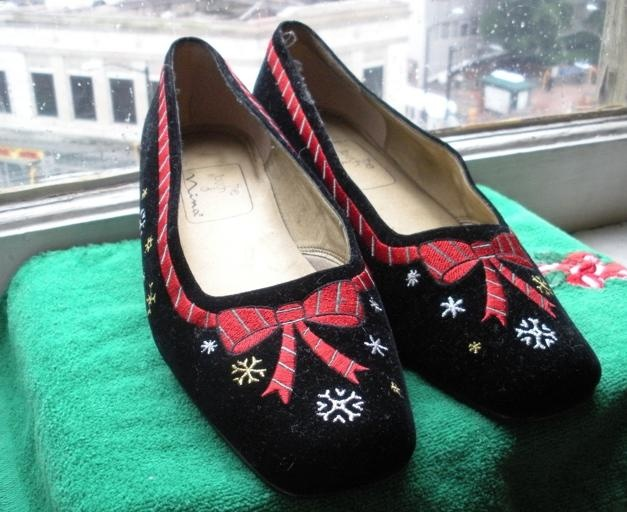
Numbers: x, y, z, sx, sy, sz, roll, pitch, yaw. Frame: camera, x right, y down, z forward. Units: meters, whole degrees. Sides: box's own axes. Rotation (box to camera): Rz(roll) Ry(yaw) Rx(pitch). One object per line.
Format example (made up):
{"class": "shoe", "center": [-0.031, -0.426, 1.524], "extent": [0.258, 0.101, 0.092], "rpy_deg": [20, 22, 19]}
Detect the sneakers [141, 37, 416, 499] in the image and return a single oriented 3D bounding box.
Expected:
{"class": "sneakers", "center": [-0.094, 0.021, 0.735], "extent": [0.255, 0.198, 0.558], "rpy_deg": [-16, 63, -23]}

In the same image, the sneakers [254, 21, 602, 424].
{"class": "sneakers", "center": [0.075, -0.080, 0.799], "extent": [0.245, 0.241, 0.667], "rpy_deg": [-24, 63, -34]}
